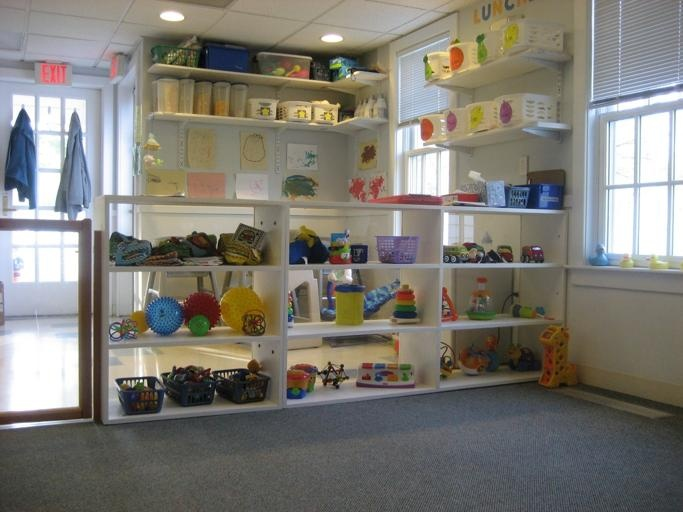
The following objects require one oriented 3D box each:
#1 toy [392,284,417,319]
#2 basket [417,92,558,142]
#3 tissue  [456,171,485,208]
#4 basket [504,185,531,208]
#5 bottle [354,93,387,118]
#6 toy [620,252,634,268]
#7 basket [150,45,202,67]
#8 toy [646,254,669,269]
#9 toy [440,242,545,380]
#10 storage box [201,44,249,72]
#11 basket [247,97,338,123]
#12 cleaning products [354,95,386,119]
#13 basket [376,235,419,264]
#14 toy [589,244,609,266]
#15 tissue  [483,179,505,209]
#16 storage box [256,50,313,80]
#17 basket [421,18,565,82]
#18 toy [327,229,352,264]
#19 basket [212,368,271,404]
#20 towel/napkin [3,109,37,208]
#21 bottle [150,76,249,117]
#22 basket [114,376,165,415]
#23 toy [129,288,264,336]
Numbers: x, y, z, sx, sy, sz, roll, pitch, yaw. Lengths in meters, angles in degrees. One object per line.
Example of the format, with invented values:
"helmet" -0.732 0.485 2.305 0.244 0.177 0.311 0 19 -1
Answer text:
"toy" 0.432 0.306 3.636 0.185 0.245 0.184 -1 0 23
"basket" 1.010 -0.999 3.935 0.958 0.272 0.368 4 5 39
"tissue " 0.925 -0.490 3.878 0.173 0.242 0.603 1 4 11
"basket" 1.218 -0.416 3.748 0.173 0.124 0.131 0 3 -13
"bottle" 0.299 -1.535 5.465 0.115 0.236 0.334 -3 7 -35
"toy" 1.804 0.018 3.447 0.082 0.094 0.085 1 -4 8
"basket" -1.533 -1.869 5.046 0.340 0.132 0.230 -2 5 -25
"toy" 1.939 0.033 3.340 0.107 0.081 0.069 4 -5 1
"toy" 1.067 0.408 3.875 0.853 0.984 0.330 -3 -2 -24
"storage box" -1.080 -1.880 5.102 0.377 0.208 0.242 -2 5 -29
"basket" -0.472 -1.443 5.359 0.504 0.143 0.382 -2 6 -25
"cleaning products" 0.294 -1.508 5.446 0.113 0.233 0.329 5 -1 -33
"basket" 0.365 -0.049 3.550 0.261 0.176 0.255 1 4 7
"toy" 1.718 -0.011 3.632 0.127 0.139 0.118 2 4 26
"tissue " 1.051 -0.426 3.697 0.165 0.177 0.084 -1 4 -26
"storage box" -0.567 -1.864 5.371 0.419 0.176 0.287 -2 6 -23
"basket" 1.111 -1.485 3.950 0.421 0.340 0.954 -3 5 -40
"toy" -0.006 -0.066 3.483 0.143 0.207 0.185 0 4 -2
"basket" -0.633 0.770 3.297 0.181 0.102 0.268 1 4 -28
"towel/napkin" -3.555 -1.091 6.000 0.297 1.091 0.271 -2 4 -37
"bottle" -1.342 -1.523 5.204 0.858 0.369 0.274 -1 4 -24
"basket" -1.150 0.777 3.100 0.183 0.106 0.282 2 -3 -22
"toy" -0.809 0.274 3.252 0.570 0.223 0.341 0 5 -10
